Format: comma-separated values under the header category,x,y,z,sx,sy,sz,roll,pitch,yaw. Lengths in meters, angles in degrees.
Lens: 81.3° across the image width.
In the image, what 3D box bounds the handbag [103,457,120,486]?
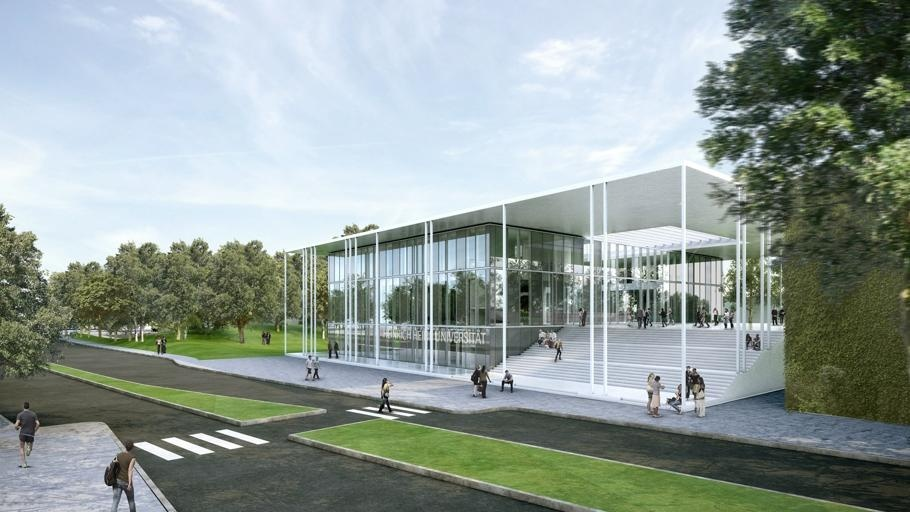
category,x,y,z,sx,sy,sz,roll,pitch,yaw
handbag,-10.503,6.867,16.397,0.351,0.921,0.586,6,-11,-34
